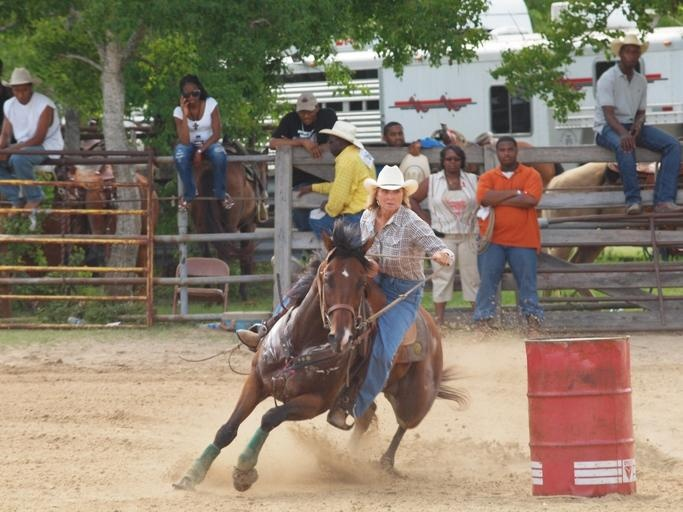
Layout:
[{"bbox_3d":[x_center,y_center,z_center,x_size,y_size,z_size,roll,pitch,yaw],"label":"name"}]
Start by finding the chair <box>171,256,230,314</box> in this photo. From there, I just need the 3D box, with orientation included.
[{"bbox_3d":[-2.252,0.538,26.300,0.823,0.874,1.140,-1,1,-3],"label":"chair"}]

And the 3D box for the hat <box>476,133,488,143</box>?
[{"bbox_3d":[2.404,-2.013,27.761,0.195,0.151,0.199,-4,16,-8],"label":"hat"}]

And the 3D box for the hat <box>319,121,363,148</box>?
[{"bbox_3d":[0.120,-1.705,23.221,0.513,0.217,0.440,27,-8,-36],"label":"hat"}]

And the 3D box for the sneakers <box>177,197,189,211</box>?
[{"bbox_3d":[-2.438,-0.794,25.005,0.094,0.121,0.277,3,-17,-2],"label":"sneakers"}]

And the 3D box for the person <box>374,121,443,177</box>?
[{"bbox_3d":[0.984,-1.770,24.813,0.737,1.057,0.458,-1,8,8],"label":"person"}]

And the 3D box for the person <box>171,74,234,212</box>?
[{"bbox_3d":[-2.158,-1.769,24.836,0.808,2.037,0.504,-3,3,-11],"label":"person"}]

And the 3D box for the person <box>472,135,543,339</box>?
[{"bbox_3d":[2.454,-0.300,23.997,1.014,2.949,0.440,-2,2,4],"label":"person"}]

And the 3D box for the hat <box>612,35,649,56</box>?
[{"bbox_3d":[4.356,-3.211,24.624,0.525,0.242,0.588,2,-14,3],"label":"hat"}]

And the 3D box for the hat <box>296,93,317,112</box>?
[{"bbox_3d":[-0.530,-2.326,24.426,0.305,0.269,0.284,-2,3,-1],"label":"hat"}]

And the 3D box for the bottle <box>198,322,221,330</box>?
[{"bbox_3d":[-2.033,1.071,25.060,0.273,0.117,0.170,-1,10,13],"label":"bottle"}]

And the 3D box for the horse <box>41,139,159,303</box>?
[{"bbox_3d":[-3.934,-0.643,26.600,1.793,2.449,3.722,-2,3,-7],"label":"horse"}]

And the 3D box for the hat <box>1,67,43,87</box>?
[{"bbox_3d":[-4.987,-2.817,25.380,0.533,0.327,0.756,-3,3,-13],"label":"hat"}]

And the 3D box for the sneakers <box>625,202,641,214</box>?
[{"bbox_3d":[4.379,-0.718,24.377,0.215,0.198,0.312,-2,3,8],"label":"sneakers"}]

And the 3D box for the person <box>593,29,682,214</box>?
[{"bbox_3d":[4.414,-1.993,24.353,1.227,2.689,0.611,-2,2,9],"label":"person"}]

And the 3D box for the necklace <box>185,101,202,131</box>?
[{"bbox_3d":[-2.267,-2.143,24.776,0.254,0.397,0.135,-3,3,-15],"label":"necklace"}]

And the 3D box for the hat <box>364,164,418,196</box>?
[{"bbox_3d":[0.640,-0.987,21.274,0.452,0.222,0.516,2,-16,-3],"label":"hat"}]
